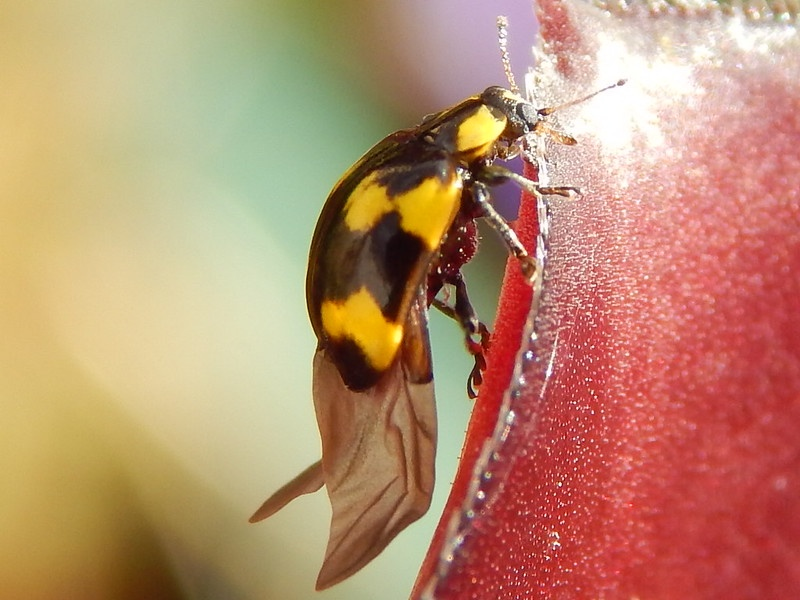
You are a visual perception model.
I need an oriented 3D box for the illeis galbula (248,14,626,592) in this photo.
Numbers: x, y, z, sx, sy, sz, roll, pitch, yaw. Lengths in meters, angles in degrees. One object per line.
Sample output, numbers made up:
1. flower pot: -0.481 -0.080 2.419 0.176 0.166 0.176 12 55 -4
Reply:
1. illeis galbula: 0.014 -0.002 0.596 0.338 0.096 0.233 -59 -6 0
